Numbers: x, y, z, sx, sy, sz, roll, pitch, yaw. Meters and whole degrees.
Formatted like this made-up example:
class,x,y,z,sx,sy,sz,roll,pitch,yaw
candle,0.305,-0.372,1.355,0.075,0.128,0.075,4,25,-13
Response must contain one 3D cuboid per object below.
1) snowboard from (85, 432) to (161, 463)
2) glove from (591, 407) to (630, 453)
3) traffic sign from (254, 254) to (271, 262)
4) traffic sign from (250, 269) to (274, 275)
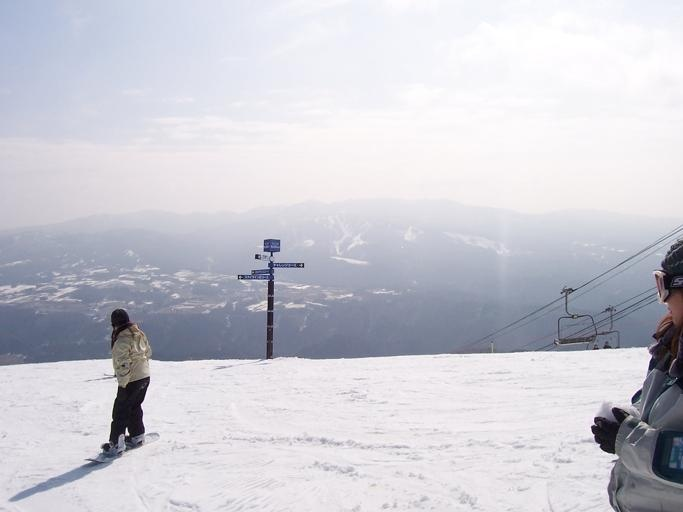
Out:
class,x,y,z,sx,sy,sz,roll,pitch,yaw
snowboard,-5.276,4.689,19.145,0.532,0.307,1.756,3,8,21
glove,4.739,2.862,12.879,0.811,0.742,0.586,8,-13,-33
traffic sign,-3.648,0.027,35.296,0.666,0.386,1.499,-2,5,5
traffic sign,-3.661,0.699,35.399,0.938,0.245,0.488,-5,6,-33
